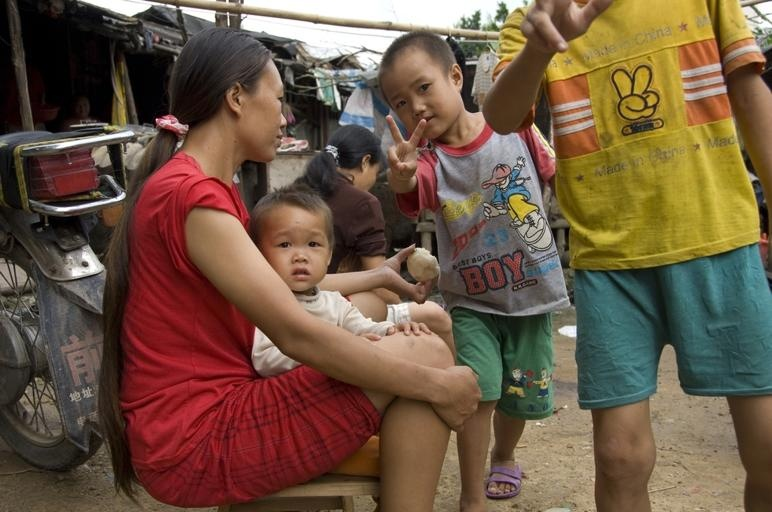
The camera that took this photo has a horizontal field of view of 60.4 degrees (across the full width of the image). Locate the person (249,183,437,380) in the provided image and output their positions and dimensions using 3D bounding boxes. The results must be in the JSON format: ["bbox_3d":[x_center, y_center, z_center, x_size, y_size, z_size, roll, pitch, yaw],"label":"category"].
[{"bbox_3d":[-0.126,0.059,2.935,0.865,0.842,0.656,-3,8,-6],"label":"person"}]

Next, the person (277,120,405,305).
[{"bbox_3d":[-0.207,-0.293,4.183,0.728,1.023,0.789,19,21,39],"label":"person"}]
